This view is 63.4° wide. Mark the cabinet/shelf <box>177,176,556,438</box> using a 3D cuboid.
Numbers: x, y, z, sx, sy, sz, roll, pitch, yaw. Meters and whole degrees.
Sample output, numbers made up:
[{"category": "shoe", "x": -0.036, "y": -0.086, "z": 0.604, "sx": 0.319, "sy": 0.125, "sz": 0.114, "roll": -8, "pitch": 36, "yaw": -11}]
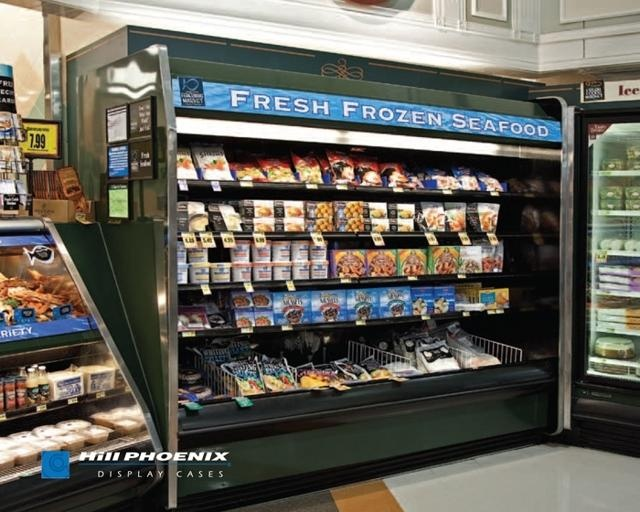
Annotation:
[{"category": "cabinet/shelf", "x": 0.285, "y": 0.380, "z": 3.794, "sx": 2.865, "sy": 1.305, "sz": 0.968, "roll": -1, "pitch": -2, "yaw": -27}]
